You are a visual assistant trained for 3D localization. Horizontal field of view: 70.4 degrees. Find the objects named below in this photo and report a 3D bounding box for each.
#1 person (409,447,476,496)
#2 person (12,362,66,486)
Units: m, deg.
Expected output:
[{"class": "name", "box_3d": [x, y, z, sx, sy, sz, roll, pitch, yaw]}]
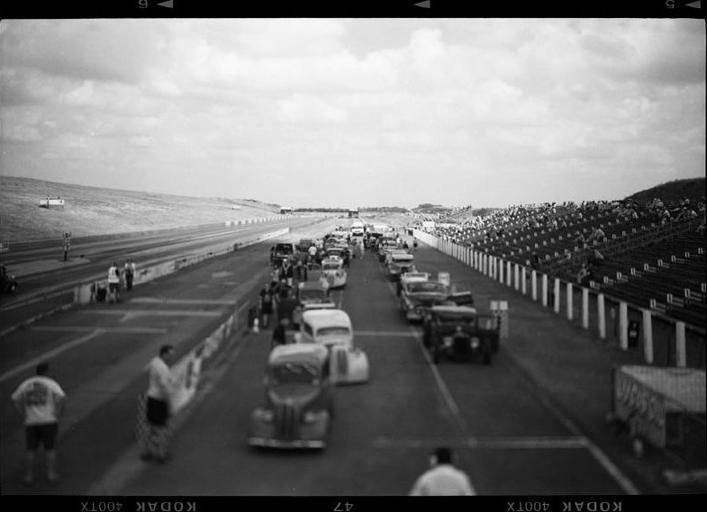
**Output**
[{"class": "person", "box_3d": [1.286, 3.115, 7.174, 0.810, 0.629, 0.414, 1, 9, 0]}, {"class": "person", "box_3d": [-6.154, 3.240, 9.898, 0.817, 2.241, 1.525, -5, 11, -36]}]
